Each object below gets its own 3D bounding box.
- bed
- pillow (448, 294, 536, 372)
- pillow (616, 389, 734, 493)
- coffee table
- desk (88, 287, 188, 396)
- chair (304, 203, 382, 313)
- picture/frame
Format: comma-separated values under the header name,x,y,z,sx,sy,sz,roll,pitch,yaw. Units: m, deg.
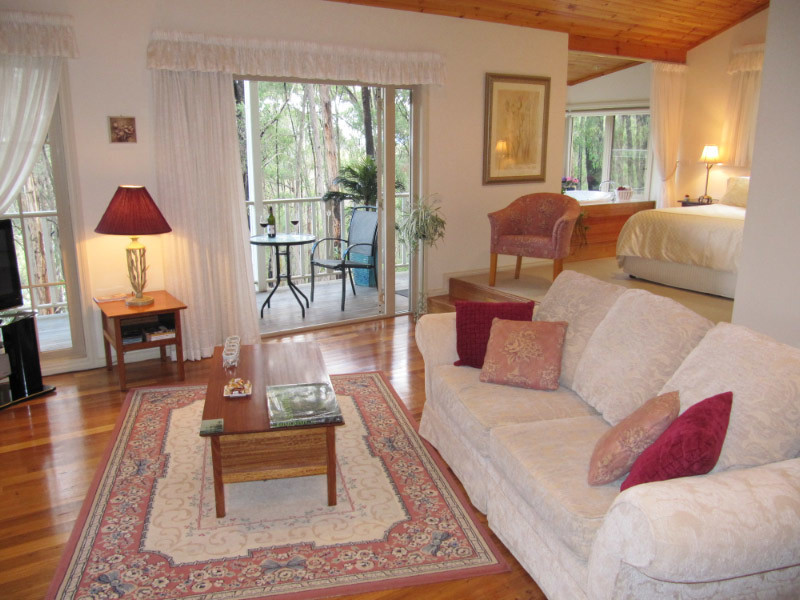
name,x,y,z,sx,sy,sz,roll,pitch,yaw
bed,3.230,-0.750,6.508,1.694,0.912,1.099,-13,18,-42
pillow,0.589,0.228,3.831,0.495,0.474,0.158,1,-8,8
pillow,1.214,0.610,2.508,0.523,0.362,0.236,-8,13,-26
coffee table,-0.825,0.705,3.751,0.648,0.450,1.113,-3,24,-8
desk,-2.195,0.237,5.098,0.786,0.800,0.795,-8,21,-25
chair,-0.704,-0.541,7.120,0.806,1.139,1.513,-4,12,-7
picture/frame,1.332,-1.952,6.828,0.960,1.188,0.089,-10,14,-31
